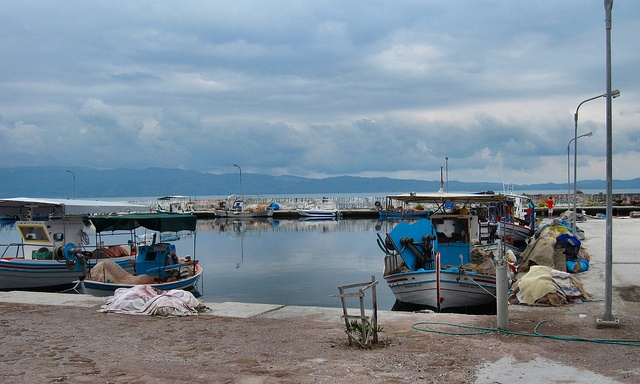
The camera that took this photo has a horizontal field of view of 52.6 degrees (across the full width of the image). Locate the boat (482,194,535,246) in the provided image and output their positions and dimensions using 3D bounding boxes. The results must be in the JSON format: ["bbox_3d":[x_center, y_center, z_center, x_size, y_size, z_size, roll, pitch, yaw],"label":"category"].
[{"bbox_3d":[12.742,2.013,45.873,3.763,4.004,13.295,-2,-5,18],"label":"boat"}]

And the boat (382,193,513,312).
[{"bbox_3d":[5.717,2.636,30.491,4.772,4.440,7.064,3,11,14],"label":"boat"}]

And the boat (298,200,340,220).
[{"bbox_3d":[-0.266,2.778,93.784,4.868,1.841,2.723,-1,4,2],"label":"boat"}]
